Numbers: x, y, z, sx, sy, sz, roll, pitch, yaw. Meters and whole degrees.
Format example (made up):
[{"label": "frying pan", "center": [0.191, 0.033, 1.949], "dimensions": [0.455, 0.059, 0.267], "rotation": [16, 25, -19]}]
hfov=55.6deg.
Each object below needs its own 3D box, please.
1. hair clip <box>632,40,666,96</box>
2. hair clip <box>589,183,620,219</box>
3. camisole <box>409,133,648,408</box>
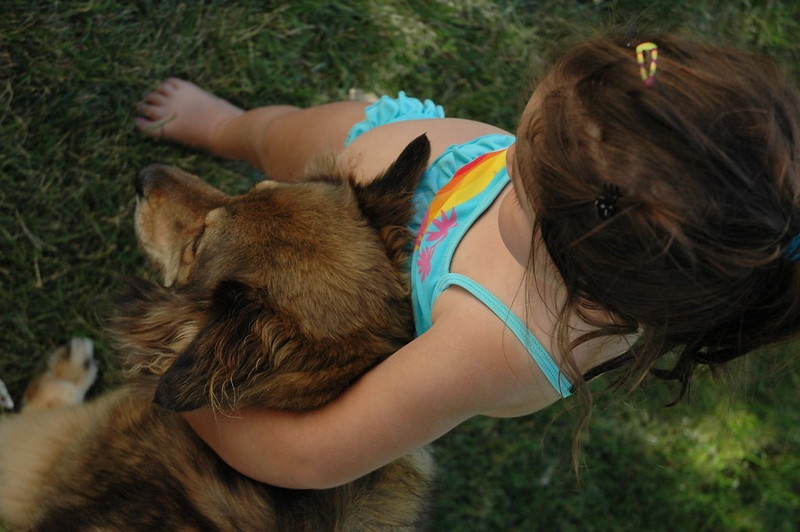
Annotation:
[{"label": "hair clip", "center": [0.765, -0.632, 2.415], "dimensions": [0.077, 0.041, 0.143], "rotation": [0, 77, 8]}, {"label": "hair clip", "center": [0.641, -0.201, 2.362], "dimensions": [0.081, 0.087, 0.061], "rotation": [37, 55, 8]}, {"label": "camisole", "center": [0.449, -0.035, 3.021], "dimensions": [0.380, 0.880, 0.808], "rotation": [25, 34, -34]}]
